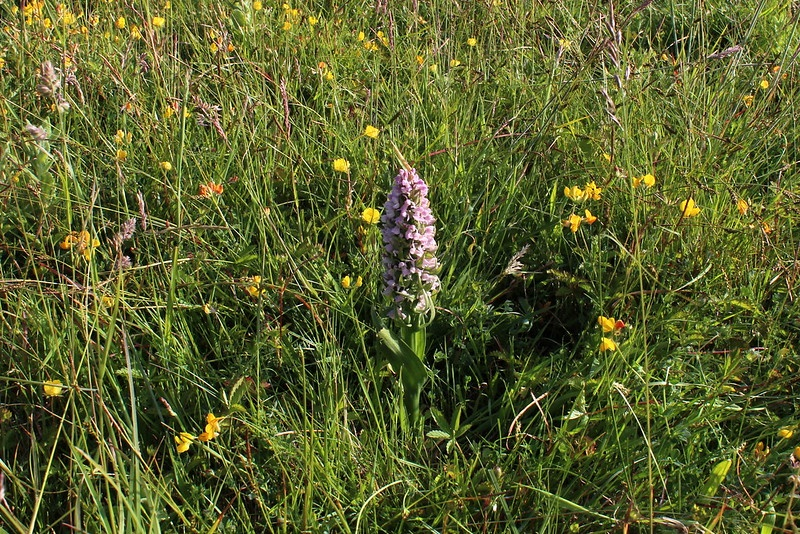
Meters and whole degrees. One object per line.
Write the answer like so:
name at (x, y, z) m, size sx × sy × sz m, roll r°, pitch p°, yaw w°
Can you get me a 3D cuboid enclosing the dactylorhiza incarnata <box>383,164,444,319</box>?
dactylorhiza incarnata at (0.041, -0.059, 2.624) m, size 0.231 × 0.607 × 0.159 m, roll 2°, pitch 26°, yaw 1°
